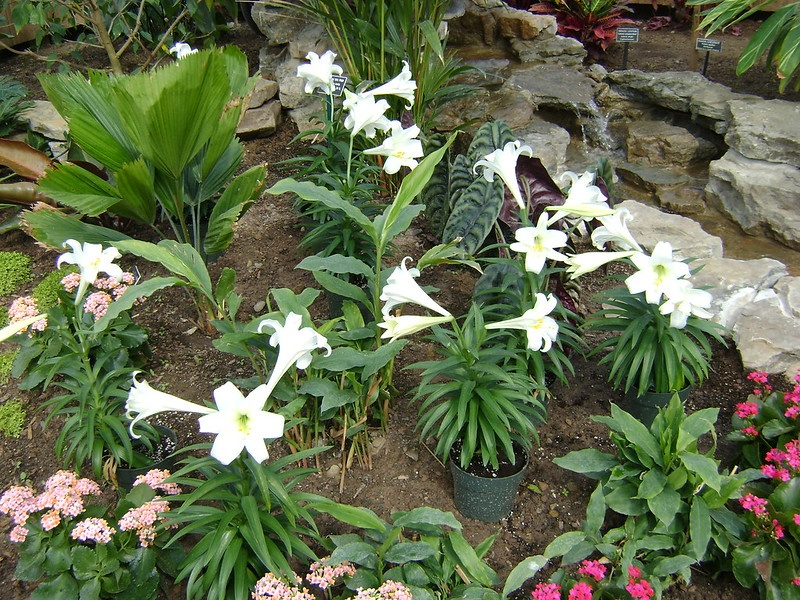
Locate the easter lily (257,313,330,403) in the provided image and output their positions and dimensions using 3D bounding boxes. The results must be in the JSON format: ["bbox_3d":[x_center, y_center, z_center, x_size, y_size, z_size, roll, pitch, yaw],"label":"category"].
[{"bbox_3d":[-0.431,0.175,2.434,0.264,0.347,0.210,29,10,-15],"label":"easter lily"}]

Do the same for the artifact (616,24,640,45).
[{"bbox_3d":[2.053,-2.370,5.524,0.209,0.185,0.184,4,50,1],"label":"artifact"}]

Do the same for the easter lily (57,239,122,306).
[{"bbox_3d":[-1.615,-0.138,3.155,0.242,0.212,0.210,37,44,11],"label":"easter lily"}]

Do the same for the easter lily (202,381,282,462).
[{"bbox_3d":[-0.566,0.430,2.175,0.212,0.218,0.076,24,49,-46],"label":"easter lily"}]

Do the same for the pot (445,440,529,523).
[{"bbox_3d":[0.428,0.927,3.126,0.384,0.281,0.342,2,35,1],"label":"pot"}]
